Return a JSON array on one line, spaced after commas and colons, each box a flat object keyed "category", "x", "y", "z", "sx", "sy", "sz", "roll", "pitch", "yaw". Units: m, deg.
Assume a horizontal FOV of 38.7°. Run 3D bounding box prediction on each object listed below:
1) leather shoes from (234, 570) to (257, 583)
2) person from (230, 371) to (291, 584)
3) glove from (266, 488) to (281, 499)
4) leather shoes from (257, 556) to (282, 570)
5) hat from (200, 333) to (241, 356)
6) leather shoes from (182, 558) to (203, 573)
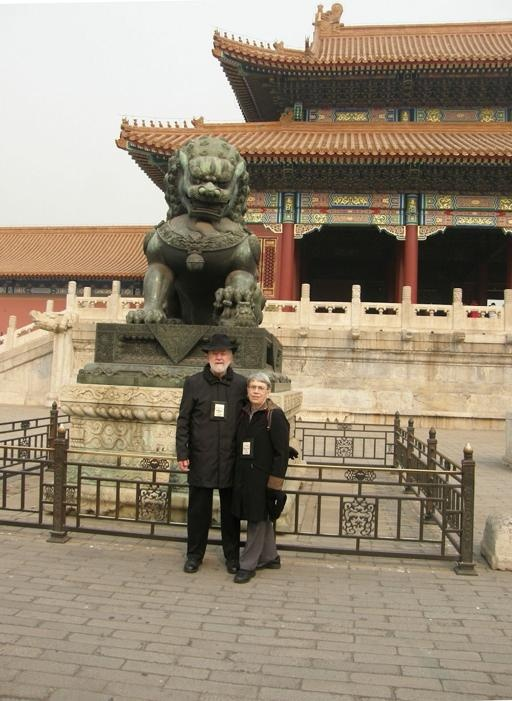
[{"category": "leather shoes", "x": -0.072, "y": 1.361, "z": 4.439, "sx": 0.087, "sy": 0.064, "sz": 0.198, "roll": 4, "pitch": 3, "yaw": 18}, {"category": "person", "x": 0.032, "y": 0.774, "z": 4.524, "sx": 0.346, "sy": 1.257, "sz": 0.405, "roll": 4, "pitch": 3, "yaw": -2}, {"category": "glove", "x": 0.108, "y": 0.867, "z": 4.455, "sx": 0.073, "sy": 0.060, "sz": 0.054, "roll": -2, "pitch": -6, "yaw": 15}, {"category": "leather shoes", "x": 0.095, "y": 1.376, "z": 4.704, "sx": 0.188, "sy": 0.075, "sz": 0.059, "roll": 5, "pitch": -12, "yaw": -24}, {"category": "hat", "x": -0.237, "y": -0.061, "z": 4.730, "sx": 0.186, "sy": 0.074, "sz": 0.199, "roll": 1, "pitch": -11, "yaw": 3}, {"category": "leather shoes", "x": -0.388, "y": 1.335, "z": 4.547, "sx": 0.069, "sy": 0.079, "sz": 0.137, "roll": 6, "pitch": 4, "yaw": 43}]
